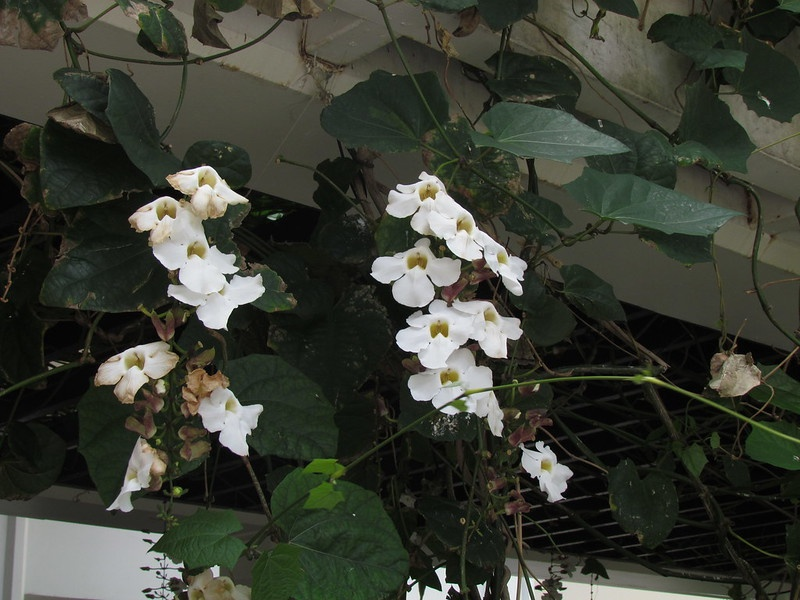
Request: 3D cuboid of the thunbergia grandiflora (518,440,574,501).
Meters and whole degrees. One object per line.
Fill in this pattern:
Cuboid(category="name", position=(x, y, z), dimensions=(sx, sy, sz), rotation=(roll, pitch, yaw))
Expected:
Cuboid(category="thunbergia grandiflora", position=(0.277, 0.334, 1.713), dimensions=(0.112, 0.114, 0.041), rotation=(49, -44, -6))

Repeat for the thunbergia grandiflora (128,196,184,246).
Cuboid(category="thunbergia grandiflora", position=(-0.382, -0.129, 1.449), dimensions=(0.084, 0.082, 0.036), rotation=(-33, -36, -19))

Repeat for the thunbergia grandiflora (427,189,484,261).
Cuboid(category="thunbergia grandiflora", position=(0.105, -0.116, 1.519), dimensions=(0.115, 0.119, 0.039), rotation=(15, -32, -30))

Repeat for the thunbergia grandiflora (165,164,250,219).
Cuboid(category="thunbergia grandiflora", position=(-0.312, -0.179, 1.445), dimensions=(0.096, 0.101, 0.043), rotation=(-18, -31, -46))

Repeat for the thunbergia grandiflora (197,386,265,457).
Cuboid(category="thunbergia grandiflora", position=(-0.292, 0.208, 1.497), dimensions=(0.105, 0.105, 0.092), rotation=(9, -29, -20))

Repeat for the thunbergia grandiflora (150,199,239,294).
Cuboid(category="thunbergia grandiflora", position=(-0.330, -0.077, 1.427), dimensions=(0.141, 0.133, 0.055), rotation=(31, -31, -13))

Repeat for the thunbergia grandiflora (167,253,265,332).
Cuboid(category="thunbergia grandiflora", position=(-0.287, -0.007, 1.449), dimensions=(0.107, 0.102, 0.040), rotation=(-12, -17, -31))

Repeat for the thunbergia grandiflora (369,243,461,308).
Cuboid(category="thunbergia grandiflora", position=(0.031, -0.044, 1.518), dimensions=(0.118, 0.116, 0.042), rotation=(28, -32, 16))

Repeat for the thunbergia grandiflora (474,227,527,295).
Cuboid(category="thunbergia grandiflora", position=(0.181, -0.068, 1.533), dimensions=(0.029, 0.104, 0.104), rotation=(-37, -72, 15))

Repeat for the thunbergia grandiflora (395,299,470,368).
Cuboid(category="thunbergia grandiflora", position=(0.049, 0.061, 1.514), dimensions=(0.131, 0.111, 0.081), rotation=(-22, -33, 34))
